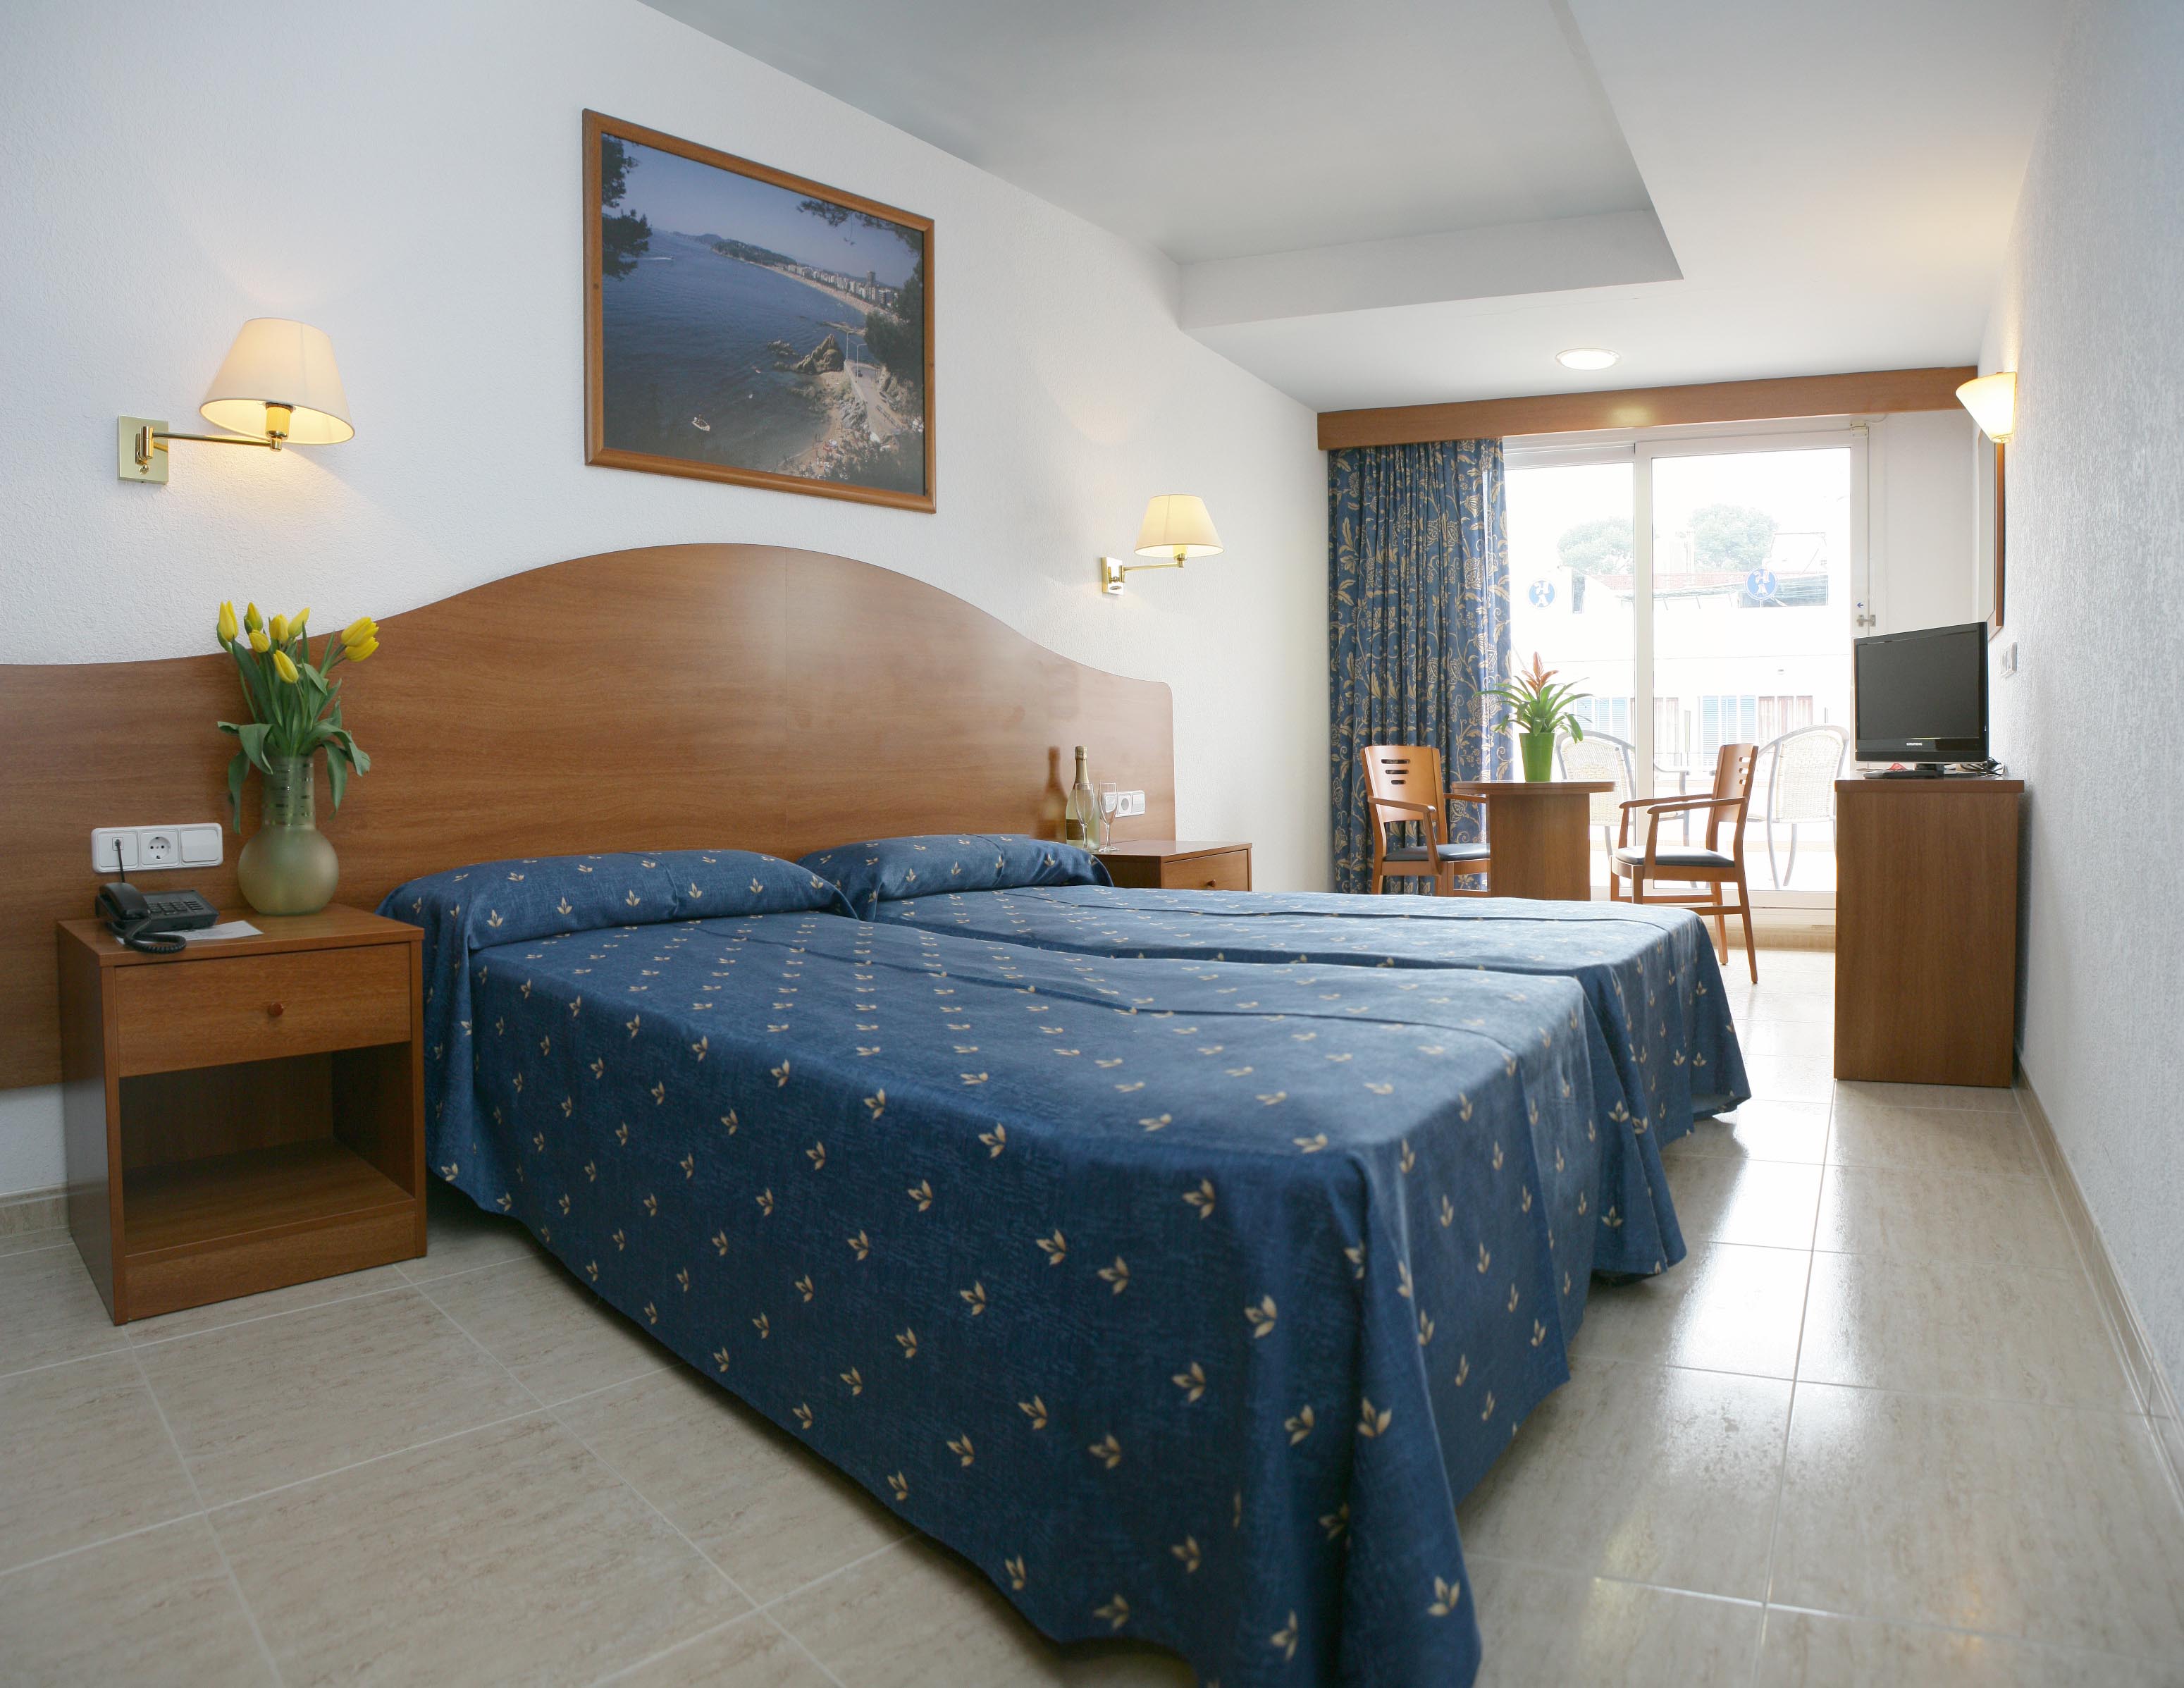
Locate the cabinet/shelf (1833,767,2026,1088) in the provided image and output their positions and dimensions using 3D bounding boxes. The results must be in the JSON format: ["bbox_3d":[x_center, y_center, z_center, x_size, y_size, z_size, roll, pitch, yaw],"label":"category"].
[{"bbox_3d":[2.401,0.262,4.272,0.429,0.815,0.830,-1,0,21],"label":"cabinet/shelf"}]

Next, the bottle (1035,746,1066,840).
[{"bbox_3d":[-0.142,-0.180,5.136,0.109,0.300,0.199,0,13,-1],"label":"bottle"}]

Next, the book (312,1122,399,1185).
[{"bbox_3d":[-1.604,0.672,3.298,0.178,0.041,0.098,5,9,40],"label":"book"}]

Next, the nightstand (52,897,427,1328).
[{"bbox_3d":[-1.711,0.397,3.235,0.690,1.036,0.788,3,4,44],"label":"nightstand"}]

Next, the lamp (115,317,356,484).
[{"bbox_3d":[-1.786,-0.927,3.215,0.449,0.320,0.317,4,6,20],"label":"lamp"}]

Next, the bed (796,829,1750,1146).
[{"bbox_3d":[0.410,0.198,3.727,1.752,0.572,1.104,2,6,30],"label":"bed"}]

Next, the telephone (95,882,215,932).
[{"bbox_3d":[-1.853,0.123,2.958,0.207,0.054,0.148,10,8,40],"label":"telephone"}]

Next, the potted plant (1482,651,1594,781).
[{"bbox_3d":[2.006,-0.557,6.779,0.481,0.628,0.579,-7,7,-33],"label":"potted plant"}]

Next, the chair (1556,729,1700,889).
[{"bbox_3d":[2.503,-0.163,7.370,0.704,1.117,0.703,-1,6,12],"label":"chair"}]

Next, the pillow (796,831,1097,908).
[{"bbox_3d":[-0.397,0.066,4.267,0.525,0.119,0.329,-6,11,-37],"label":"pillow"}]

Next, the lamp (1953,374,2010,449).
[{"bbox_3d":[2.959,-1.420,4.914,0.124,0.197,0.418,4,14,17],"label":"lamp"}]

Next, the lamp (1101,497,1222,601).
[{"bbox_3d":[0.258,-1.083,5.543,0.319,0.343,0.472,2,-4,-36],"label":"lamp"}]
